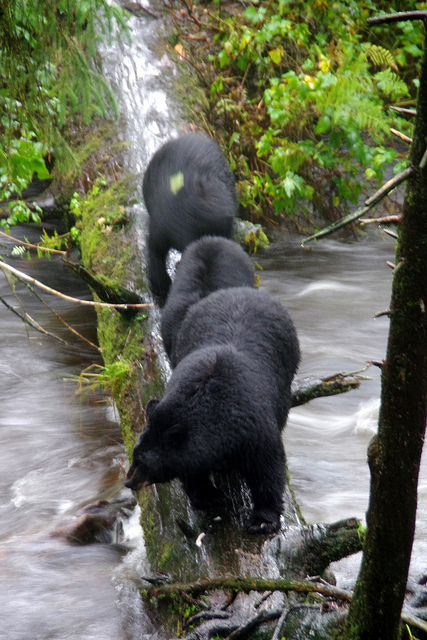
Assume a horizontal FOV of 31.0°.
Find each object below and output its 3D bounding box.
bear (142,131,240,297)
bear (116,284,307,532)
[{"bbox_3d":[-0.188,-0.783,5.229,0.578,0.752,1.193,1,36,-2],"label":"bear"},{"bbox_3d":[0.102,0.359,3.753,0.680,1.174,0.704,11,-35,9],"label":"bear"}]
